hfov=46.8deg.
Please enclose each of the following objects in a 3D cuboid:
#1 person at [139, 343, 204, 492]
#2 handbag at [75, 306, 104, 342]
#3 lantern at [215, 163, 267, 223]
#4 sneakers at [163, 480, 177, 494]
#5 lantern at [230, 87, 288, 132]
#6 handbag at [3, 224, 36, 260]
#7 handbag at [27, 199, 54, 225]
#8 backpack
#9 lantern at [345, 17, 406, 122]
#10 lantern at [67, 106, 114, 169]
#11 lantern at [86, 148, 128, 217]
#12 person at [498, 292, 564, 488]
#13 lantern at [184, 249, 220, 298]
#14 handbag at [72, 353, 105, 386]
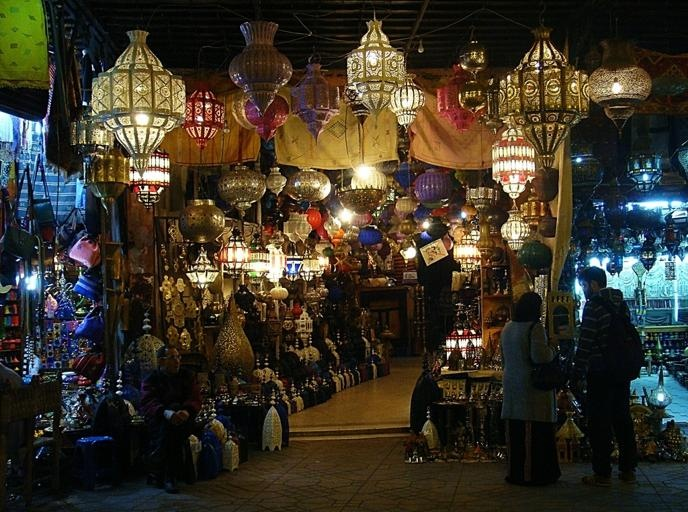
[{"bbox_3d":[-1.739,1.628,8.003,0.499,1.401,0.418,-4,-6,28],"label":"person"},{"bbox_3d":[-2.777,0.767,8.923,0.365,0.387,0.150,2,-21,29],"label":"handbag"},{"bbox_3d":[-1.181,-0.737,9.325,0.559,0.580,0.507,-1,-3,-34],"label":"lantern"},{"bbox_3d":[-1.704,2.262,7.771,0.165,0.111,0.085,-4,-6,19],"label":"sneakers"},{"bbox_3d":[-0.948,-1.651,9.061,0.738,0.566,0.672,0,3,-11],"label":"lantern"},{"bbox_3d":[-3.306,-0.122,8.065,0.159,0.293,0.298,0,-16,41],"label":"handbag"},{"bbox_3d":[-3.391,-0.492,8.998,0.209,0.262,0.299,0,-6,-13],"label":"handbag"},{"bbox_3d":[2.666,0.793,7.627,0.476,0.852,0.211,1,-6,-27],"label":"backpack"},{"bbox_3d":[0.300,-1.837,7.543,0.547,0.950,0.280,-2,-6,1],"label":"lantern"},{"bbox_3d":[-2.561,-1.243,8.103,0.481,0.619,0.353,-2,-6,3],"label":"lantern"},{"bbox_3d":[-2.364,-0.809,8.400,0.488,0.815,0.477,0,6,-8],"label":"lantern"},{"bbox_3d":[1.801,1.287,7.751,0.529,1.852,0.307,-3,-6,11],"label":"person"},{"bbox_3d":[-1.758,0.212,9.397,0.417,0.668,0.504,-2,-4,17],"label":"lantern"},{"bbox_3d":[-2.822,1.227,8.865,0.279,0.389,0.378,1,17,-9],"label":"handbag"}]
